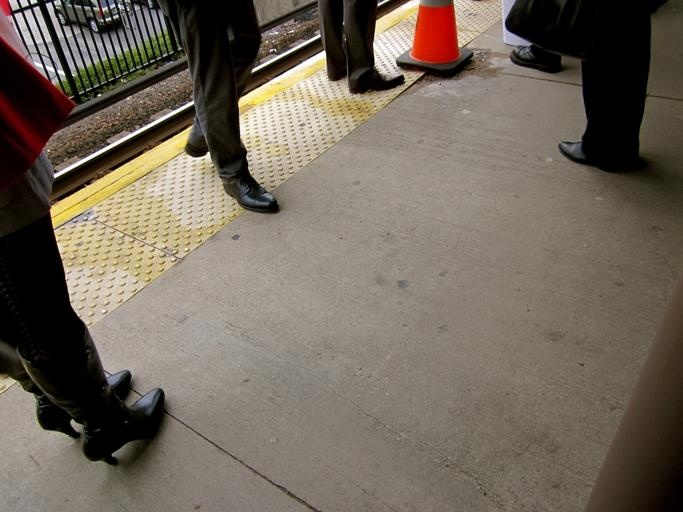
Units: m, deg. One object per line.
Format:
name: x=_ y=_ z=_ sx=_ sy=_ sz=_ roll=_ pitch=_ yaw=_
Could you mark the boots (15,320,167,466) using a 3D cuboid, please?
boots: x=-0.923 y=0.501 z=1.913 sx=0.156 sy=0.594 sz=0.397 roll=4 pitch=31 yaw=29
